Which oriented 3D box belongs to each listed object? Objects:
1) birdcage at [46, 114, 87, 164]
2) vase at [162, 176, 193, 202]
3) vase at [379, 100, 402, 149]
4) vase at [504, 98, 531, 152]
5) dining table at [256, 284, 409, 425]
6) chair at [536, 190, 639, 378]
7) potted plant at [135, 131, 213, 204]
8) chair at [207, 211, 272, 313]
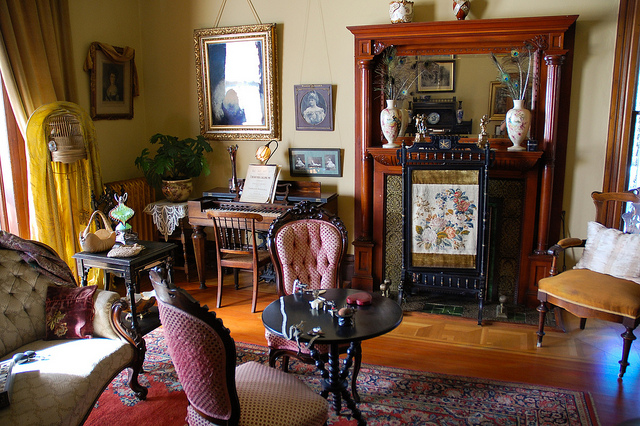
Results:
[{"bbox_3d":[-2.714,-0.840,5.156,0.331,0.485,0.358,27,32,37],"label":"birdcage"},{"bbox_3d":[-1.775,-0.308,5.996,0.323,0.257,0.319,1,6,12],"label":"vase"},{"bbox_3d":[0.812,-1.019,5.418,0.252,0.542,0.234,0,11,1],"label":"vase"},{"bbox_3d":[2.096,-0.955,5.102,0.255,0.553,0.271,4,12,21],"label":"vase"},{"bbox_3d":[0.160,0.968,3.931,1.090,0.842,1.110,4,17,24],"label":"dining table"},{"bbox_3d":[2.559,0.575,4.585,0.818,1.563,0.980,5,12,28],"label":"chair"},{"bbox_3d":[-1.854,-0.546,6.082,0.841,0.859,0.917,1,11,4],"label":"potted plant"},{"bbox_3d":[-0.842,0.509,5.491,0.735,1.132,0.788,6,9,29],"label":"chair"}]
